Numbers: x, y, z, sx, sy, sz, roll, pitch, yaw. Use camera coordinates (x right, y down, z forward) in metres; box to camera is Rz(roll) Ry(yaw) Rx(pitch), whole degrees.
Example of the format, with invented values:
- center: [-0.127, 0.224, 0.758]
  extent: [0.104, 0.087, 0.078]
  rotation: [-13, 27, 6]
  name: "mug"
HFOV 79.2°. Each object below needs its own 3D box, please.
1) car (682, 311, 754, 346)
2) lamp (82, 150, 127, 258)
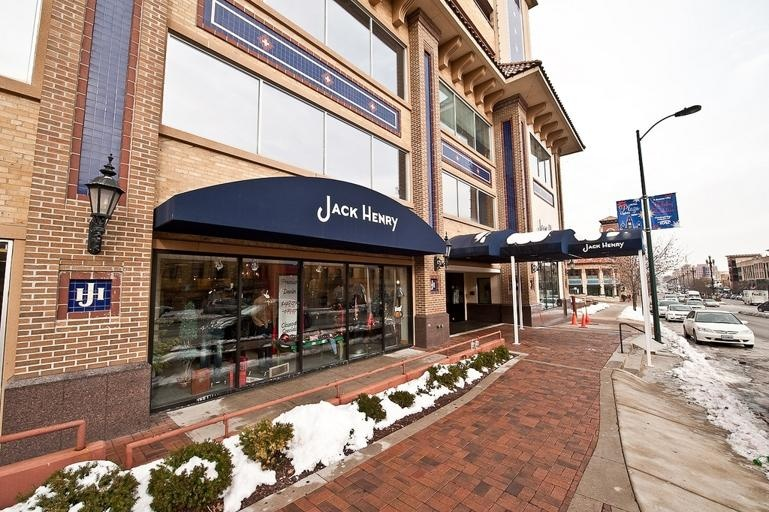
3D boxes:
- center: [13.033, 2.823, 18.335]
  extent: [1.313, 0.974, 2.897]
  rotation: [-3, -14, 27]
  name: "car"
- center: [-5.651, -1.095, 9.410]
  extent: [0.687, 2.147, 0.661]
  rotation: [12, -13, -41]
  name: "lamp"
